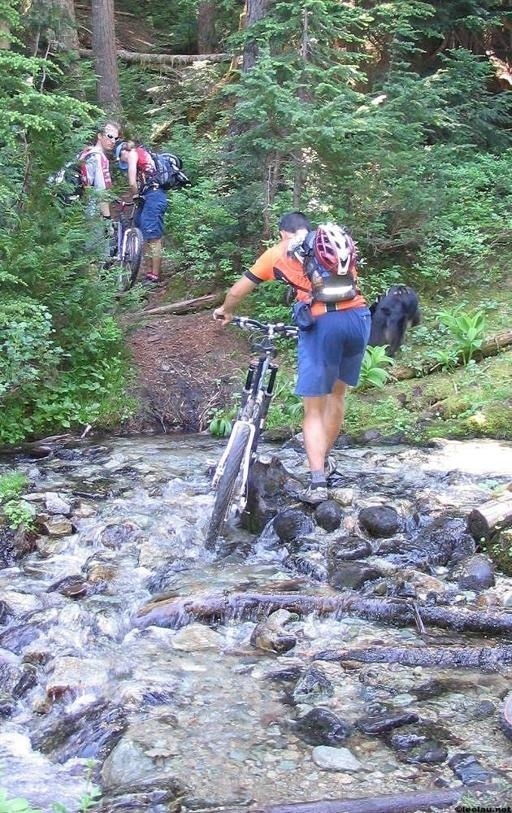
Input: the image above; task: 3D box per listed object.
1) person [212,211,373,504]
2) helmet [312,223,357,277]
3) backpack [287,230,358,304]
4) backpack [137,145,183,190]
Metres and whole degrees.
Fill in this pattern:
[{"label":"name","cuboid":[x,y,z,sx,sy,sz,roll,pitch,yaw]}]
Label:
[{"label":"person","cuboid":[0.391,-0.375,5.688,0.901,2.248,0.702,3,13,25]},{"label":"helmet","cuboid":[0.580,-1.125,5.197,0.328,0.369,0.285,-5,12,-12]},{"label":"backpack","cuboid":[0.529,-1.106,5.397,0.444,0.492,0.579,-11,19,-31]},{"label":"backpack","cuboid":[-1.504,-3.560,10.855,0.758,0.695,0.437,-7,32,-15]}]
